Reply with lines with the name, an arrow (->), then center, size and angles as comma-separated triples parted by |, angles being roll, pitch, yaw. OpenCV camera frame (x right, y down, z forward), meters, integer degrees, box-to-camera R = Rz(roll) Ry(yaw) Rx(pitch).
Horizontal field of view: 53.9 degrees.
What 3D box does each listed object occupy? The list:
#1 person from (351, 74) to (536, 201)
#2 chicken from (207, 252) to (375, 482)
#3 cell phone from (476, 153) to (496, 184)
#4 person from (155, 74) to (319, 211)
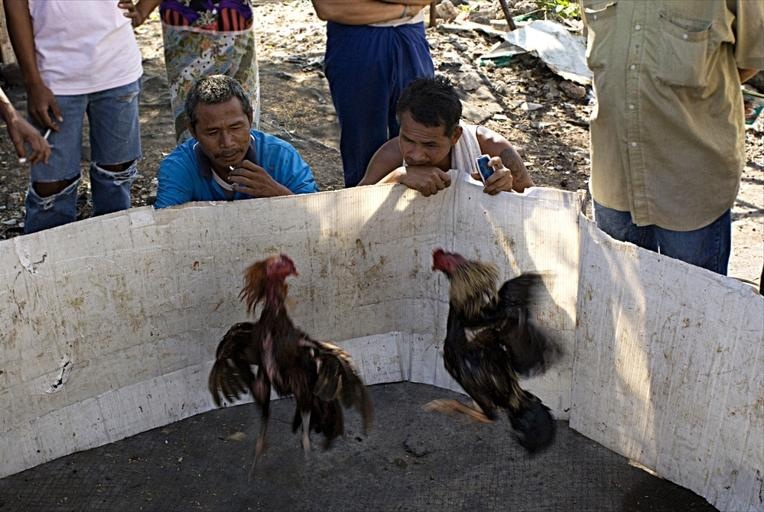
person -> 0.306, -0.537, 3.694 | 0.841, 0.544, 0.632 | 10, 38, 12
chicken -> -0.412, 0.436, 3.439 | 0.708, 0.642, 0.547 | 25, 44, 29
cell phone -> 0.469, -0.402, 3.430 | 0.074, 0.113, 0.131 | -1, 37, -2
person -> -0.786, -0.482, 3.780 | 0.905, 0.788, 0.511 | -5, 33, -9
